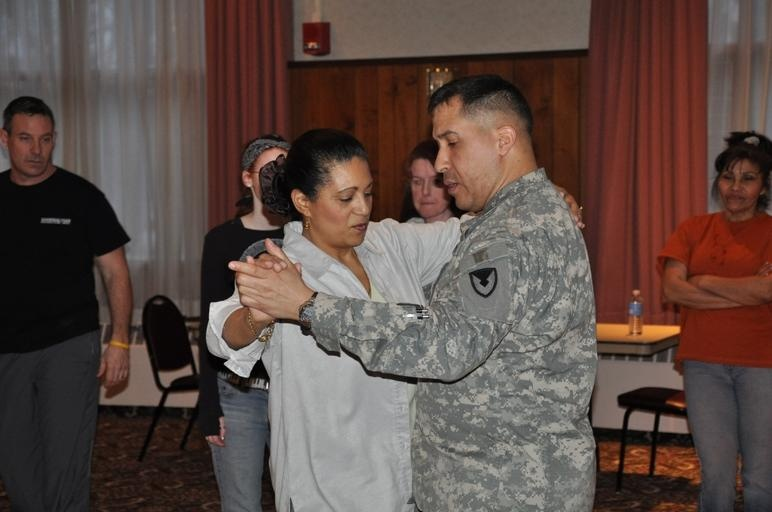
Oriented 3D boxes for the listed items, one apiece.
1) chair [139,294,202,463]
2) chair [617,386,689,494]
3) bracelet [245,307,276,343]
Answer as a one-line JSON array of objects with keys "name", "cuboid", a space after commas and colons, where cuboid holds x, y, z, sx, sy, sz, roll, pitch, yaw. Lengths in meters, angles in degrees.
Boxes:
[{"name": "chair", "cuboid": [-2.010, 1.089, 6.668, 0.503, 1.232, 0.885, -1, 7, -16]}, {"name": "chair", "cuboid": [2.166, 1.462, 5.994, 0.612, 0.541, 0.519, -7, -11, -25]}, {"name": "bracelet", "cuboid": [-0.588, 0.363, 3.337, 0.131, 0.157, 0.045, -3, -3, -12]}]
